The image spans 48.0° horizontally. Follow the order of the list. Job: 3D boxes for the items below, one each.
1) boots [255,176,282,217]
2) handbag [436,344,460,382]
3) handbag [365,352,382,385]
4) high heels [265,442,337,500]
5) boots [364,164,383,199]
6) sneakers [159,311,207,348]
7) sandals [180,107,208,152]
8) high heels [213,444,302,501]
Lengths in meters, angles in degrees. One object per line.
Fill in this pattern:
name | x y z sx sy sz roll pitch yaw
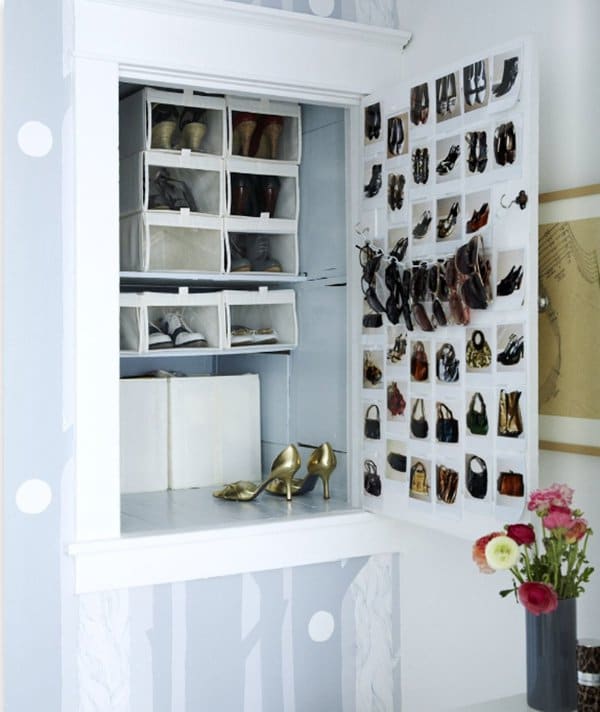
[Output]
boots | -0.106 -0.539 2.248 0.047 0.193 0.061 4 1 -15
handbag | 0.336 0.013 1.535 0.020 0.080 0.044 2 4 -33
handbag | 0.197 0.034 1.835 0.035 0.092 0.073 1 -6 -8
high heels | 0.023 0.341 2.112 0.112 0.244 0.270 3 -2 -36
boots | 0.200 -0.477 1.823 0.051 0.108 0.207 1 9 7
sneakers | -0.372 -0.091 2.133 0.062 0.108 0.198 -8 14 -27
sandals | -0.341 -0.727 2.129 0.066 0.128 0.262 -2 13 -10
high heels | -0.114 0.333 2.039 0.265 0.269 0.139 -2 -2 11
